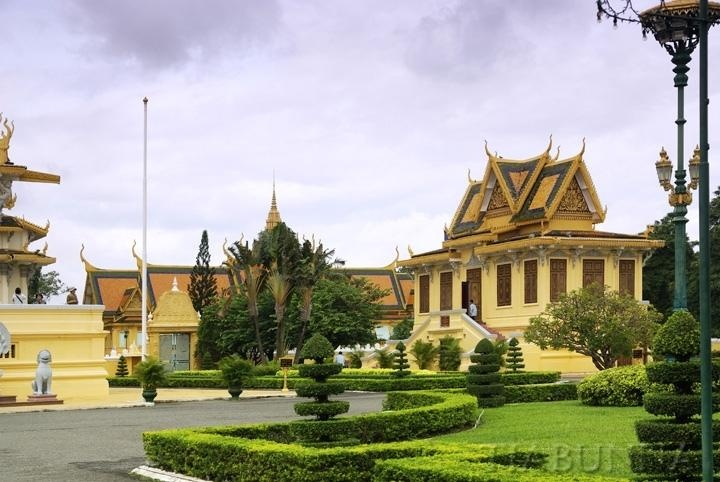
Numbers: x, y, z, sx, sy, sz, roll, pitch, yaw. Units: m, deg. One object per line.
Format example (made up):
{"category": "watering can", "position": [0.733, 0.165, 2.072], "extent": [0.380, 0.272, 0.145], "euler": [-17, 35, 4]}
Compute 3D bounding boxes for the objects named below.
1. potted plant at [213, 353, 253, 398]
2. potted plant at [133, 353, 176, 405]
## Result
{"category": "potted plant", "position": [-4.678, 5.156, 45.616], "extent": [1.225, 1.679, 1.268], "euler": [0, -9, -6]}
{"category": "potted plant", "position": [-7.477, 4.991, 43.332], "extent": [1.097, 1.587, 0.483], "euler": [0, -10, -8]}
